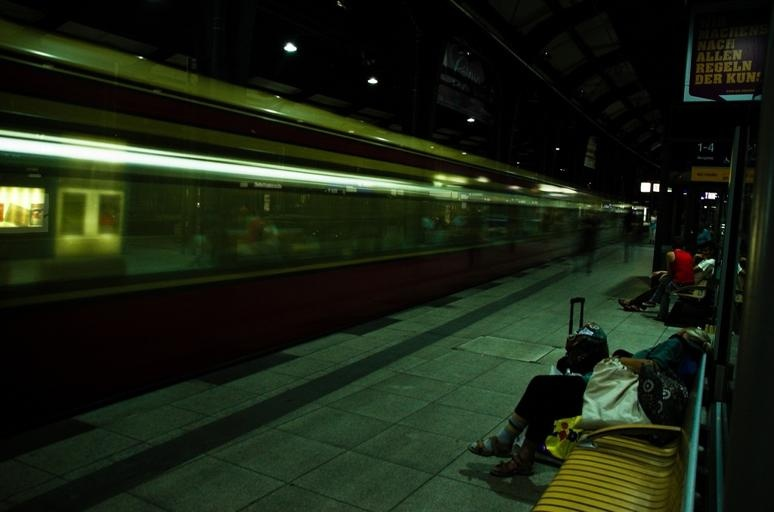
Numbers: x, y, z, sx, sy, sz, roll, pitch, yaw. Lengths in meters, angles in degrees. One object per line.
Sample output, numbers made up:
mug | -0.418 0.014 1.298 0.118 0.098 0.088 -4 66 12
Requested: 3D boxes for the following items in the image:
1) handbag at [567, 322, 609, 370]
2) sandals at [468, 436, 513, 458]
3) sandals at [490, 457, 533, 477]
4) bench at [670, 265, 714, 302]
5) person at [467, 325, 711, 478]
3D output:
handbag | 1.876 0.861 5.436 0.457 0.404 0.343 -1 -31 4
sandals | 1.002 1.837 5.533 0.400 0.159 0.194 2 0 22
sandals | 1.169 1.976 5.259 0.347 0.137 0.160 2 -1 6
bench | 5.423 0.457 10.101 0.748 0.833 0.704 -2 -7 36
person | 1.995 1.260 5.298 2.073 1.230 1.064 -6 -16 35
